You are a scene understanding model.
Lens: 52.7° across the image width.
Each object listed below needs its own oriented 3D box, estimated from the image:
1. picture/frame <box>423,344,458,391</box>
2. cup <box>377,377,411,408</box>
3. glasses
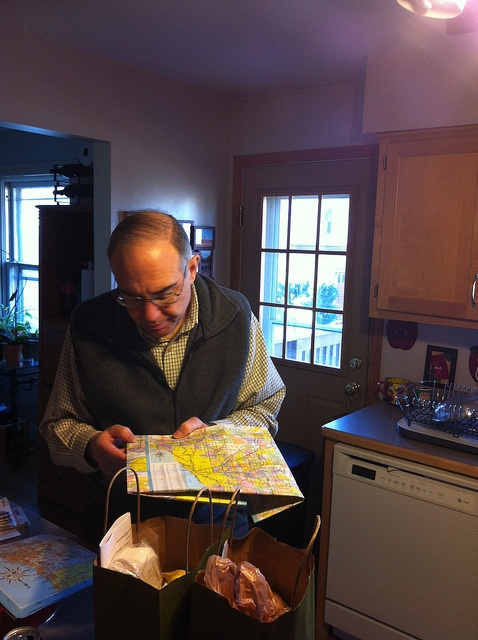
[{"bbox_3d":[1.001,0.238,2.378,0.178,0.272,0.010,9,3,36],"label":"picture/frame"},{"bbox_3d":[0.756,0.361,2.387,0.134,0.112,0.110,0,1,21],"label":"cup"},{"bbox_3d":[-0.176,-0.053,0.959,0.127,0.068,0.057,2,4,-15],"label":"glasses"}]
